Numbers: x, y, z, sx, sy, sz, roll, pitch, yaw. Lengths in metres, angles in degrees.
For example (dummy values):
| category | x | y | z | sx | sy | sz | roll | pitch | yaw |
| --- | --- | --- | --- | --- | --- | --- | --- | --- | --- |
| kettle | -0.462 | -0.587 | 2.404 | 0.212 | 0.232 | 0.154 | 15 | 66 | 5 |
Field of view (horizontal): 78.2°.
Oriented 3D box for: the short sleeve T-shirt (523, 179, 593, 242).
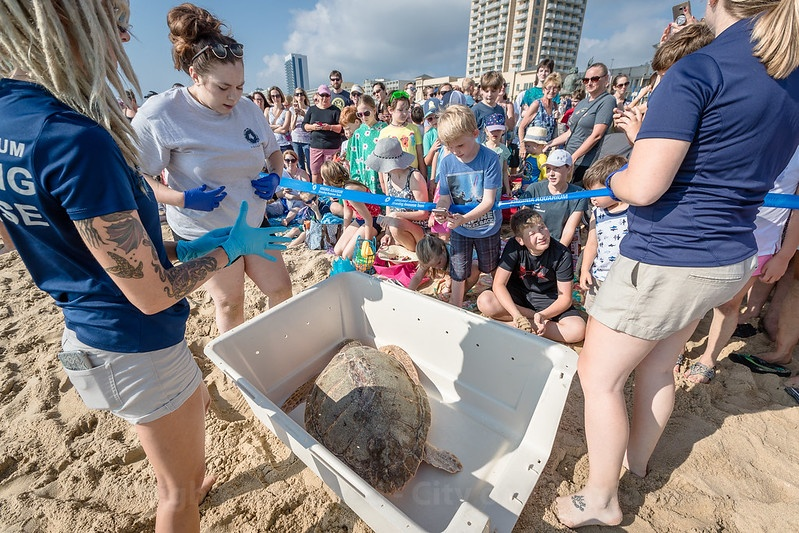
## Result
| category | x | y | z | sx | sy | sz | roll | pitch | yaw |
| --- | --- | --- | --- | --- | --- | --- | --- | --- | --- |
| short sleeve T-shirt | 1.376 | -0.493 | 4.305 | 0.652 | 0.677 | 0.357 | 3 | 41 | 31 |

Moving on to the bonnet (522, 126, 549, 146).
| category | x | y | z | sx | sy | sz | roll | pitch | yaw |
| --- | --- | --- | --- | --- | --- | --- | --- | --- | --- |
| bonnet | 1.651 | -1.578 | 5.931 | 0.242 | 0.139 | 0.260 | 20 | 12 | 37 |

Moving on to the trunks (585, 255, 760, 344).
| category | x | y | z | sx | sy | sz | roll | pitch | yaw |
| --- | --- | --- | --- | --- | --- | --- | --- | --- | --- |
| trunks | 1.408 | 0.184 | 2.693 | 0.720 | 0.519 | 0.450 | 10 | 28 | -35 |

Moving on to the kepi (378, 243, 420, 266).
| category | x | y | z | sx | sy | sz | roll | pitch | yaw |
| --- | --- | --- | --- | --- | --- | --- | --- | --- | --- |
| kepi | -0.028 | -0.131 | 5.371 | 0.282 | 0.084 | 0.280 | -1 | 31 | 0 |

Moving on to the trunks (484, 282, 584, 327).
| category | x | y | z | sx | sy | sz | roll | pitch | yaw |
| --- | --- | --- | --- | --- | --- | --- | --- | --- | --- |
| trunks | 1.080 | 0.280 | 4.090 | 0.525 | 0.152 | 0.377 | 15 | 24 | 31 |

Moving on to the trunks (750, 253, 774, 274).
| category | x | y | z | sx | sy | sz | roll | pitch | yaw |
| --- | --- | --- | --- | --- | --- | --- | --- | --- | --- |
| trunks | 2.270 | -0.027 | 3.081 | 0.067 | 0.135 | 0.096 | 14 | 38 | 27 |

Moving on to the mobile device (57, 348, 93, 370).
| category | x | y | z | sx | sy | sz | roll | pitch | yaw |
| --- | --- | --- | --- | --- | --- | --- | --- | --- | --- |
| mobile device | -1.541 | 0.437 | 2.349 | 0.114 | 0.114 | 0.034 | -34 | -6 | 7 |
